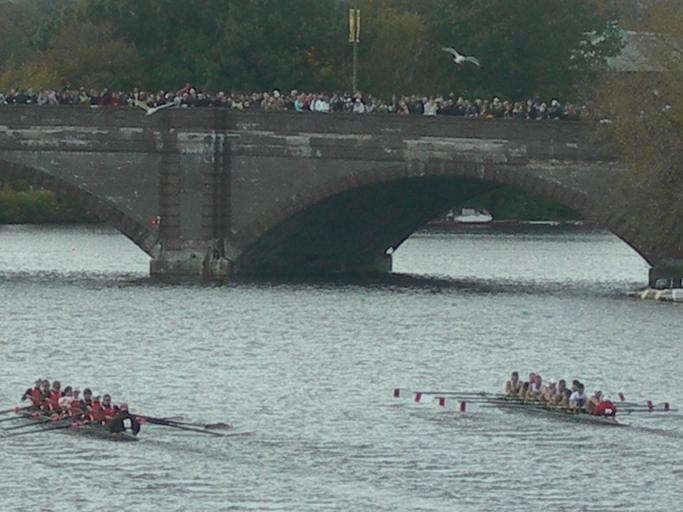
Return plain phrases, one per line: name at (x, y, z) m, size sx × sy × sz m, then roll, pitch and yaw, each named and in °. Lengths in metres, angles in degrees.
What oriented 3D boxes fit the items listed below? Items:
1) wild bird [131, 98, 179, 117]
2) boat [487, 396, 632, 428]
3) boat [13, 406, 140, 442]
wild bird at (-9.428, -7.743, 111.638) m, size 2.031 × 0.724 × 0.935 m, roll -7°, pitch -27°, yaw -3°
boat at (9.689, 6.613, 92.915) m, size 3.074 × 0.385 × 0.642 m, roll 11°, pitch 4°, yaw 14°
boat at (-11.201, 7.456, 92.130) m, size 5.362 × 1.330 × 2.064 m, roll 2°, pitch 22°, yaw -15°
